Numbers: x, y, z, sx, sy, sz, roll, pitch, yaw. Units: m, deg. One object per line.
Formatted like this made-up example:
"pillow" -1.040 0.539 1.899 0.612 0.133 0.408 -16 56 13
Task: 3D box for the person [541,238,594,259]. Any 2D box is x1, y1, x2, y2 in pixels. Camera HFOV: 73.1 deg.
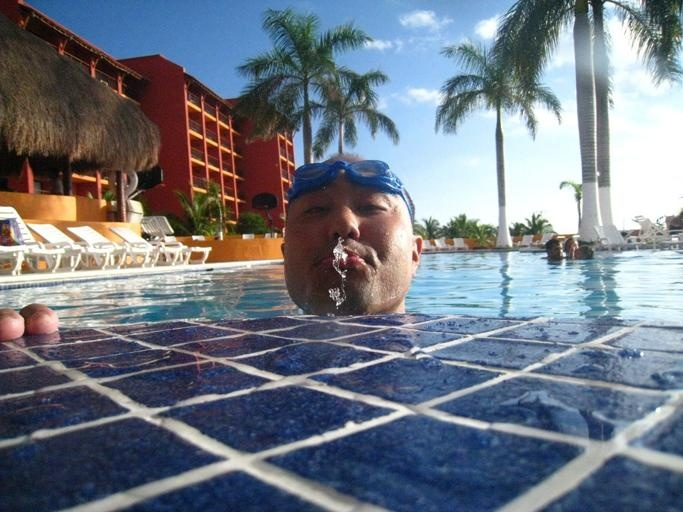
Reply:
"person" 4.447 -0.145 9.069 0.815 0.379 0.502 6 -10 -32
